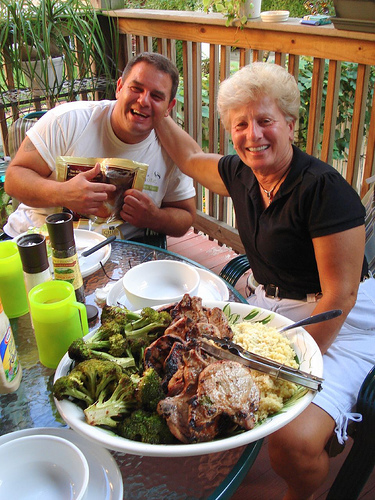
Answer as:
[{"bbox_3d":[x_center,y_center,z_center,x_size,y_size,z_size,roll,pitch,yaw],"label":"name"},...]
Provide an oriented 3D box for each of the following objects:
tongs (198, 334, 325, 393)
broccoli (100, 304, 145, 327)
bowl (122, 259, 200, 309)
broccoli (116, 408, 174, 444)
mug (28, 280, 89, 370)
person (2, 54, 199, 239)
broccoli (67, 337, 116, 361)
[{"bbox_3d":[0.120,0.205,0.669,0.230,0.032,0.049,13,-13,32],"label":"tongs"},{"bbox_3d":[-0.158,0.149,0.856,0.098,0.044,0.076,-14,20,-43],"label":"broccoli"},{"bbox_3d":[-0.103,0.068,1.138,0.155,0.066,0.162,0,36,0],"label":"bowl"},{"bbox_3d":[-0.065,0.268,0.569,0.058,0.044,0.030,0,-3,6],"label":"broccoli"},{"bbox_3d":[-0.307,0.164,0.938,0.158,0.204,0.120,-12,27,-21],"label":"mug"},{"bbox_3d":[-0.454,-0.325,1.989,0.779,1.249,0.621,-9,30,-12],"label":"person"},{"bbox_3d":[-0.200,0.196,0.768,0.075,0.040,0.081,10,16,28],"label":"broccoli"}]
